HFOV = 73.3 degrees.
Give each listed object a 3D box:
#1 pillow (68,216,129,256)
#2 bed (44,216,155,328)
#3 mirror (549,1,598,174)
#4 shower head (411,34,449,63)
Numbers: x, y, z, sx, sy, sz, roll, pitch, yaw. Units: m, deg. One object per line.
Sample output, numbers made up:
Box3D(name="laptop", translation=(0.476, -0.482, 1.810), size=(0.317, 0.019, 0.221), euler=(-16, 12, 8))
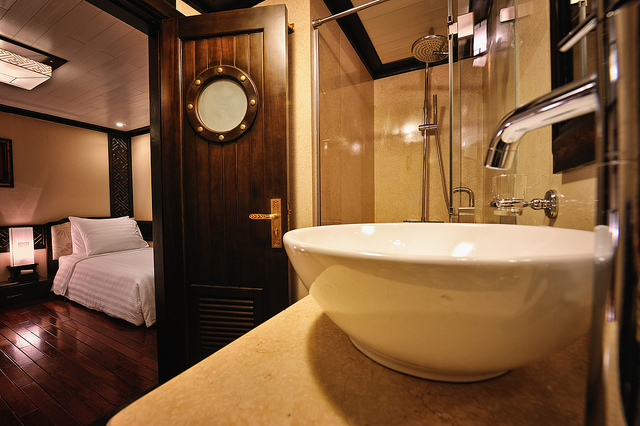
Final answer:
Box3D(name="pillow", translation=(-2.470, 0.283, 4.774), size=(0.074, 0.259, 0.391), euler=(-17, -3, 34))
Box3D(name="bed", translation=(-2.041, 0.562, 4.356), size=(1.469, 0.735, 0.947), euler=(15, 12, 28))
Box3D(name="mirror", translation=(1.166, -0.607, 1.947), size=(0.173, 0.850, 0.345), euler=(-2, 1, 17))
Box3D(name="shower head", translation=(0.808, -1.213, 3.198), size=(0.258, 0.074, 0.411), euler=(-2, 0, 14))
